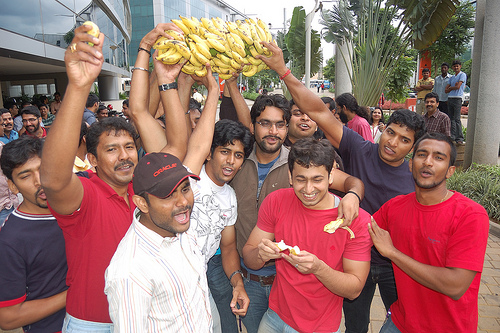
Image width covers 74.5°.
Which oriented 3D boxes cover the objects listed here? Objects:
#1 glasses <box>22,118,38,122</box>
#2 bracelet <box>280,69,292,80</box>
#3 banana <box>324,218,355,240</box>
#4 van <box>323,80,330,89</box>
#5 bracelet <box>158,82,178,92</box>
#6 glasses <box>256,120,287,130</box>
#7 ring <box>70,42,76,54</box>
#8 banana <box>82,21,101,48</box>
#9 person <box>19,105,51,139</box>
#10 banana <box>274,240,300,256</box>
[{"bbox_3d":[-5.265,-1.098,7.858,0.278,0.102,0.123,-3,10,-34],"label":"glasses"},{"bbox_3d":[0.473,-1.229,4.511,0.041,0.157,0.158,38,30,3],"label":"bracelet"},{"bbox_3d":[1.001,0.737,3.683,0.208,0.312,0.141,-36,16,-7],"label":"banana"},{"bbox_3d":[20.701,-21.776,87.938,2.303,1.775,3.633,0,-4,5],"label":"van"},{"bbox_3d":[-1.003,-0.955,4.020,0.138,0.151,0.140,-1,-6,27],"label":"bracelet"},{"bbox_3d":[0.308,-0.586,4.675,0.424,0.116,0.142,1,8,-9],"label":"glasses"},{"bbox_3d":[-1.644,-1.106,3.078,0.065,0.086,0.031,-16,-12,31],"label":"ring"},{"bbox_3d":[-1.497,-1.264,3.110,0.155,0.259,0.069,-16,15,-42],"label":"banana"},{"bbox_3d":[-5.339,-1.024,8.049,0.577,0.946,0.582,-5,19,-14],"label":"person"},{"bbox_3d":[0.406,0.868,3.490,0.184,0.081,0.142,21,-5,12],"label":"banana"}]
